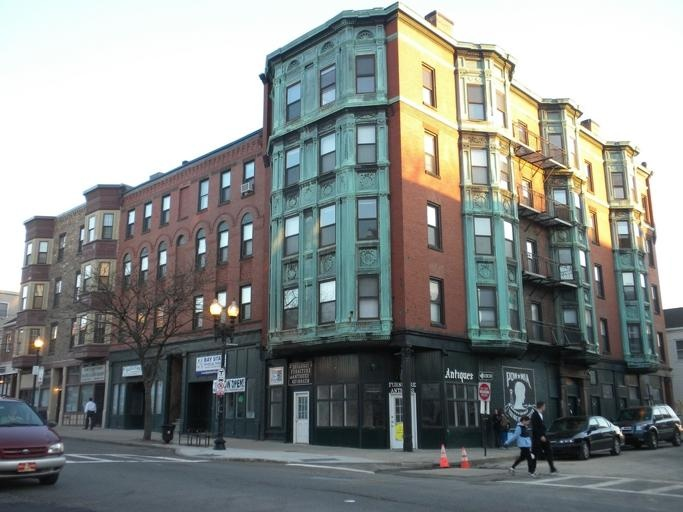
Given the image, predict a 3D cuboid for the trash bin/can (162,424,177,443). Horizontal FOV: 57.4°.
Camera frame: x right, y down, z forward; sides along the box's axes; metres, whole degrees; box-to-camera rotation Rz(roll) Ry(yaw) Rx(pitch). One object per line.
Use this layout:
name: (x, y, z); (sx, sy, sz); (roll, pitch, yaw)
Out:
trash bin/can: (-8.331, 8.489, 29.911); (0.370, 0.861, 0.666); (-2, -20, 0)
